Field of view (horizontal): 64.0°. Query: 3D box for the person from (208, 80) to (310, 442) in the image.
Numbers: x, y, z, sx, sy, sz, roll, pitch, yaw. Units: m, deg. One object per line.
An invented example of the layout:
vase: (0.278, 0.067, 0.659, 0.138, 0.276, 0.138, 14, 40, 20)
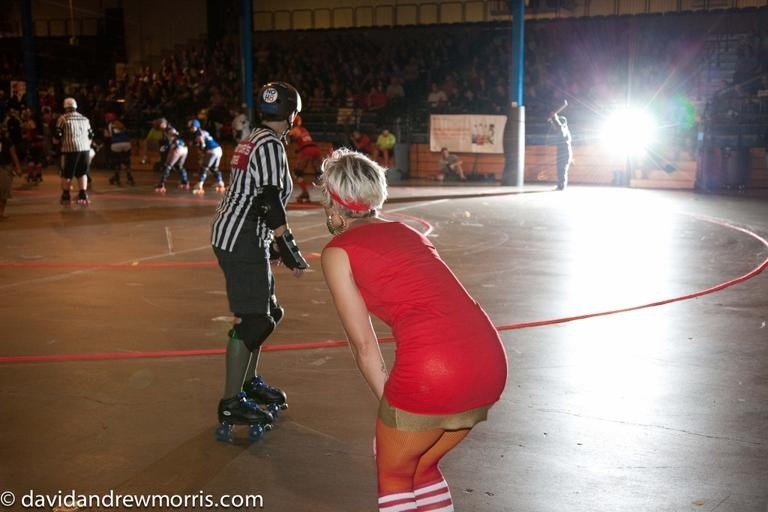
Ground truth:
person: (-0.876, 0.042, 4.247, 0.775, 2.377, 0.843, 4, 5, -15)
